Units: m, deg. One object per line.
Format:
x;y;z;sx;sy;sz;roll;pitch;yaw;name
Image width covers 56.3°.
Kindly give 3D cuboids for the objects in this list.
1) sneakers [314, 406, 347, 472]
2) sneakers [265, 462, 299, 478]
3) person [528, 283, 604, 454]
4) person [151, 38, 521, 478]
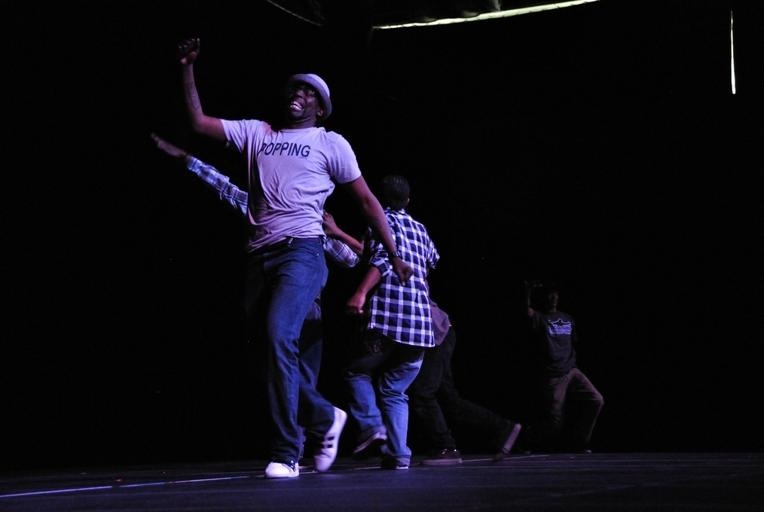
-0.324;1.123;4.403;0.176;0.437;0.153;7;10;-37;sneakers
-0.532;1.155;3.852;0.189;0.083;0.132;4;-9;-21;sneakers
1.738;1.076;6.849;0.664;1.577;0.826;-1;-8;11;person
-0.565;0.065;4.333;1.366;2.445;0.810;3;-8;-17;person
